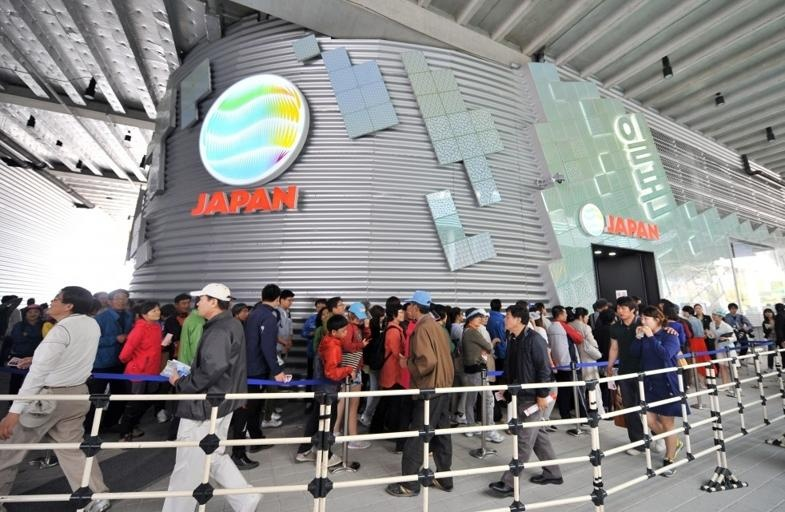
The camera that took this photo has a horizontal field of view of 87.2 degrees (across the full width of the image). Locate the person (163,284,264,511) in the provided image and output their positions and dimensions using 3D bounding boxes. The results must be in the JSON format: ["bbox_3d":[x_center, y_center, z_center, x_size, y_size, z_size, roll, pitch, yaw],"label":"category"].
[{"bbox_3d":[-2.170,1.720,5.028,1.016,2.798,0.691,7,-14,-27],"label":"person"}]

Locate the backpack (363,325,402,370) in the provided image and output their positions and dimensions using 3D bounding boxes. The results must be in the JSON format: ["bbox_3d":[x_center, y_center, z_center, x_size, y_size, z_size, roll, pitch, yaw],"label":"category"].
[{"bbox_3d":[-0.153,1.509,6.718,0.500,0.862,0.626,16,-16,11],"label":"backpack"}]

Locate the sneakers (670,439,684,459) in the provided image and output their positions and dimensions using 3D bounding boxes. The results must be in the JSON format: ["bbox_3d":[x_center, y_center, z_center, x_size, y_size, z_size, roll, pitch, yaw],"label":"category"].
[{"bbox_3d":[4.345,2.977,6.325,0.171,0.394,0.143,36,-32,-23],"label":"sneakers"}]

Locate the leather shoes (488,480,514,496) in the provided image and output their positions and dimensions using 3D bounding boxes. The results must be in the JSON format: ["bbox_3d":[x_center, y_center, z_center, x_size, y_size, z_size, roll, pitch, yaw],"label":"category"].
[{"bbox_3d":[1.444,3.129,5.523,0.349,0.143,0.132,3,-8,-6],"label":"leather shoes"}]

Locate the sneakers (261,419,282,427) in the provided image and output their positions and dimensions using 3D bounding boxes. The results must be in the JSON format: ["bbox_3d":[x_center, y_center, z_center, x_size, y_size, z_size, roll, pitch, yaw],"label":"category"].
[{"bbox_3d":[-2.164,3.001,7.418,0.363,0.143,0.129,4,-6,-18],"label":"sneakers"}]

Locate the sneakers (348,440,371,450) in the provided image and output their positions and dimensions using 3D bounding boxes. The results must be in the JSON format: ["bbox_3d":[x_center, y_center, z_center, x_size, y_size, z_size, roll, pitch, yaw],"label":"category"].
[{"bbox_3d":[-0.546,3.087,6.749,0.378,0.150,0.143,2,-8,-12],"label":"sneakers"}]

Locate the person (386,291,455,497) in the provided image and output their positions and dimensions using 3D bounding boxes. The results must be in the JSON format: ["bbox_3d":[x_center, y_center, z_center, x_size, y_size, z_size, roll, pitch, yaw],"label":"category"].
[{"bbox_3d":[0.443,1.860,5.772,0.791,2.790,0.905,0,-12,5],"label":"person"}]

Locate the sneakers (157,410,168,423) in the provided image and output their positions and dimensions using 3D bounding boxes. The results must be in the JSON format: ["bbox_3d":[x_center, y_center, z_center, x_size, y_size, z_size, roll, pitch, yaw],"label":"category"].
[{"bbox_3d":[-4.190,2.941,7.517,0.127,0.118,0.256,3,-4,-38],"label":"sneakers"}]

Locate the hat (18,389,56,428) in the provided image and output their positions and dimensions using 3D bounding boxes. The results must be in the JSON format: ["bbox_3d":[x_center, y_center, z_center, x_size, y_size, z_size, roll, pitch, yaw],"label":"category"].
[{"bbox_3d":[-4.297,1.919,4.998,0.366,0.332,0.144,6,-13,-25],"label":"hat"}]

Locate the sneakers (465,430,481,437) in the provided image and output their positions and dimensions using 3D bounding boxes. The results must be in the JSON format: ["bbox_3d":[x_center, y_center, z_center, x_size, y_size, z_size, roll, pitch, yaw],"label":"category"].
[{"bbox_3d":[1.412,3.142,7.237,0.270,0.105,0.113,0,1,4],"label":"sneakers"}]

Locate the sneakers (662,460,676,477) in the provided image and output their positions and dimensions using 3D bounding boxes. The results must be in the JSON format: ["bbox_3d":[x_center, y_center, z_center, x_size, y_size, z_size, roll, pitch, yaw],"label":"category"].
[{"bbox_3d":[3.998,3.073,5.997,0.162,0.205,0.470,-6,-13,30],"label":"sneakers"}]

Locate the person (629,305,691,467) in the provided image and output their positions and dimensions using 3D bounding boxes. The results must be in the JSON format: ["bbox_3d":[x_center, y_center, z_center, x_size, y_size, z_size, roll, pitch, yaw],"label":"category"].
[{"bbox_3d":[4.057,1.980,6.233,0.574,2.428,0.975,-6,-14,29],"label":"person"}]

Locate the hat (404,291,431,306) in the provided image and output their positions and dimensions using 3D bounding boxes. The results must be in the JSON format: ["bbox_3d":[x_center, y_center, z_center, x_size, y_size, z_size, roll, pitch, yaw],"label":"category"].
[{"bbox_3d":[0.412,0.663,6.584,0.343,0.240,0.478,4,-3,-30],"label":"hat"}]

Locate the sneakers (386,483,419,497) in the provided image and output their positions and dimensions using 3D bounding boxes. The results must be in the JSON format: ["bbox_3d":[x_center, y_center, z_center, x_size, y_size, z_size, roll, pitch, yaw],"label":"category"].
[{"bbox_3d":[0.139,3.172,5.646,0.444,0.176,0.168,6,-13,6],"label":"sneakers"}]

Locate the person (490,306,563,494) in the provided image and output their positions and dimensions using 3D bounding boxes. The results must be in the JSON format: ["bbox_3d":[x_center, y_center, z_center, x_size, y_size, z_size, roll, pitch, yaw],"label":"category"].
[{"bbox_3d":[1.885,1.962,5.750,1.023,2.526,0.658,3,-12,-11],"label":"person"}]

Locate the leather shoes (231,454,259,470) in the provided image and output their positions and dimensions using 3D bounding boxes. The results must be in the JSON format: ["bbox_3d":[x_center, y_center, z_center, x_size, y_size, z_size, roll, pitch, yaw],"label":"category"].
[{"bbox_3d":[-2.166,3.056,6.101,0.372,0.141,0.177,2,-6,-1],"label":"leather shoes"}]

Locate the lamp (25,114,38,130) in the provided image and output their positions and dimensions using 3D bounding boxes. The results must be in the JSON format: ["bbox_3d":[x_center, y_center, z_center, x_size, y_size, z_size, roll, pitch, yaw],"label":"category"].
[{"bbox_3d":[-12.780,-4.807,14.605,0.399,0.704,0.166,-7,-47,-24],"label":"lamp"}]

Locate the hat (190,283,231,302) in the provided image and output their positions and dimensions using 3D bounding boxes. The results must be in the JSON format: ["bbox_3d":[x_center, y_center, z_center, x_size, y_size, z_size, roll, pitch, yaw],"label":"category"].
[{"bbox_3d":[-2.332,0.458,5.295,0.520,0.188,0.324,5,-5,0],"label":"hat"}]
